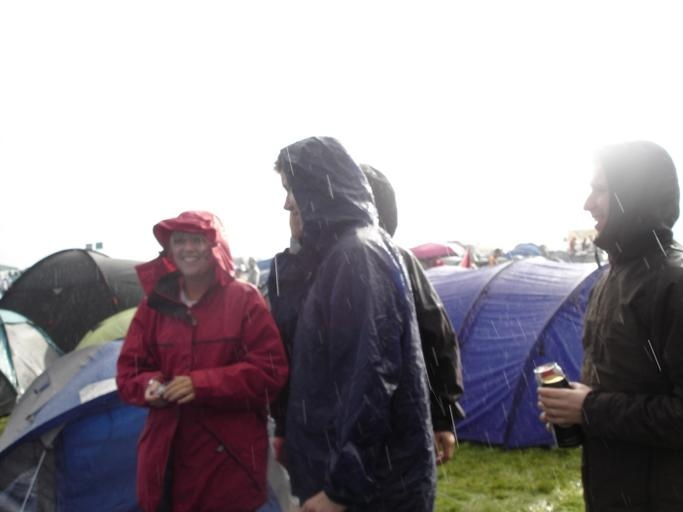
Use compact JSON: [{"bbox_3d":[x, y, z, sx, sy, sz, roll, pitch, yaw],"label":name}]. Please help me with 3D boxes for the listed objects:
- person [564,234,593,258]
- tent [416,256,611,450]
[{"bbox_3d":[9.211,-0.342,23.326,1.360,1.158,1.440,0,4,20],"label":"person"},{"bbox_3d":[2.024,0.935,6.938,1.977,1.138,2.317,-30,14,-33],"label":"tent"}]
